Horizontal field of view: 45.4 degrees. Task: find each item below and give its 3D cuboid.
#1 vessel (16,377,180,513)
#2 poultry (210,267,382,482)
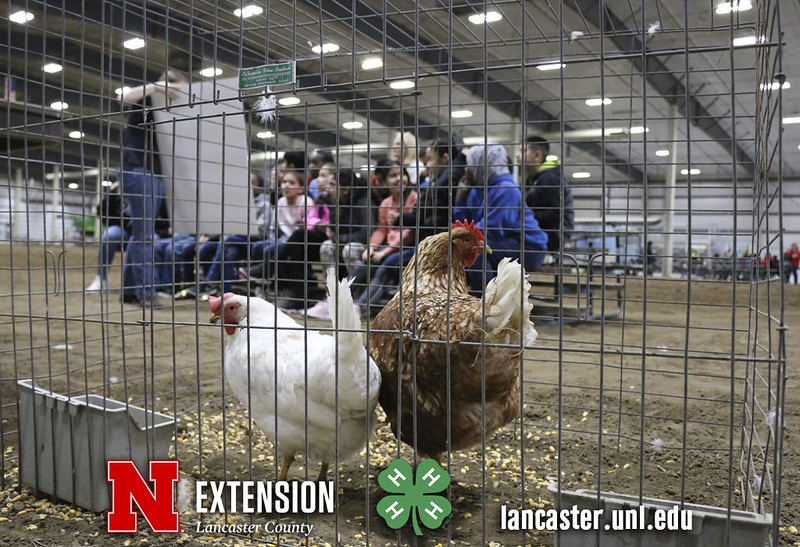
[{"bbox_3d":[-2.749,1.541,8.519,1.389,1.088,0.383,2,3,17],"label":"vessel"},{"bbox_3d":[-0.880,0.912,8.375,1.426,1.932,0.811,1,2,0],"label":"poultry"}]
